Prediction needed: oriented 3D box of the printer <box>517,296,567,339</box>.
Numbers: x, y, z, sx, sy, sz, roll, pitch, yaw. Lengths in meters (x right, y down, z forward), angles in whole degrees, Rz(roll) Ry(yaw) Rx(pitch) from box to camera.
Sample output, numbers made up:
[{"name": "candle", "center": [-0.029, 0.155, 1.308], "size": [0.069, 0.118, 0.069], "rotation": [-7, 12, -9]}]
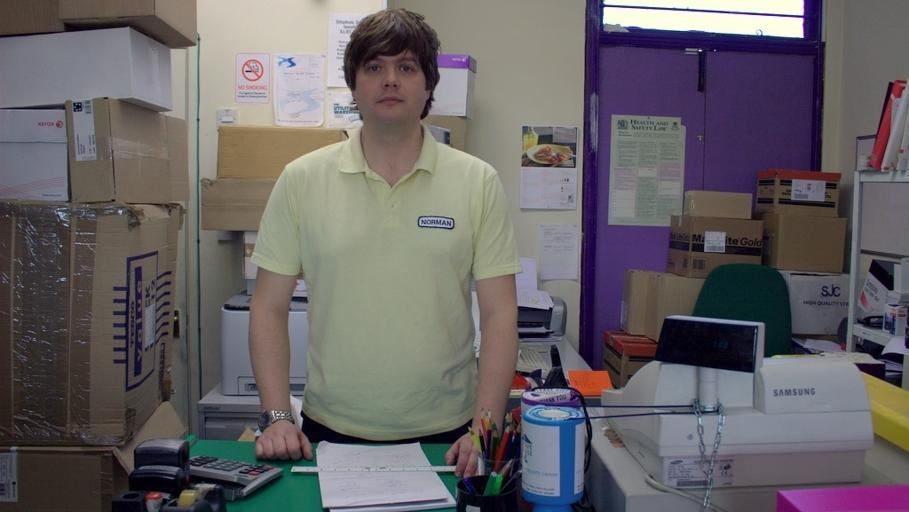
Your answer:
[{"name": "printer", "center": [0.573, 0.392, 4.504], "size": [0.290, 0.169, 0.277], "rotation": [0, -4, 1]}]

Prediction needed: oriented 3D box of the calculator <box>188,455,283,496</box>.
[{"name": "calculator", "center": [-0.827, 0.804, 2.574], "size": [0.235, 0.040, 0.158], "rotation": [11, 26, 25]}]

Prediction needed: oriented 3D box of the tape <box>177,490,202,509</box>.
[{"name": "tape", "center": [-0.883, 0.812, 2.326], "size": [0.040, 0.058, 0.063], "rotation": [3, 1, -4]}]

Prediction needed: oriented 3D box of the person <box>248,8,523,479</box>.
[{"name": "person", "center": [-0.303, -0.165, 3.221], "size": [1.051, 1.848, 1.128], "rotation": [1, 2, -8]}]
